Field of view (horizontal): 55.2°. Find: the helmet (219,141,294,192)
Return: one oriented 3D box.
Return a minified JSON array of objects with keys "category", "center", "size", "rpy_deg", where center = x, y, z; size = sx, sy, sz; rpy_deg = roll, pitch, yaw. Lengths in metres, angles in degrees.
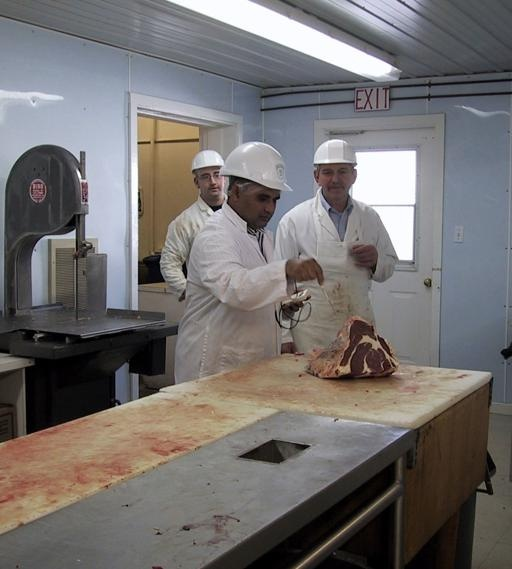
[{"category":"helmet","center":[-0.007,-0.472,1.971],"size":[0.255,0.136,0.189],"rpy_deg":[20,12,28]}]

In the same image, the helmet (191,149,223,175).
[{"category":"helmet","center":[-0.392,-1.007,3.948],"size":[0.211,0.124,0.259],"rpy_deg":[-3,-5,-8]}]

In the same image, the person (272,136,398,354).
[{"category":"person","center":[0.536,-0.018,3.086],"size":[0.801,1.655,0.509],"rpy_deg":[-4,25,1]}]
